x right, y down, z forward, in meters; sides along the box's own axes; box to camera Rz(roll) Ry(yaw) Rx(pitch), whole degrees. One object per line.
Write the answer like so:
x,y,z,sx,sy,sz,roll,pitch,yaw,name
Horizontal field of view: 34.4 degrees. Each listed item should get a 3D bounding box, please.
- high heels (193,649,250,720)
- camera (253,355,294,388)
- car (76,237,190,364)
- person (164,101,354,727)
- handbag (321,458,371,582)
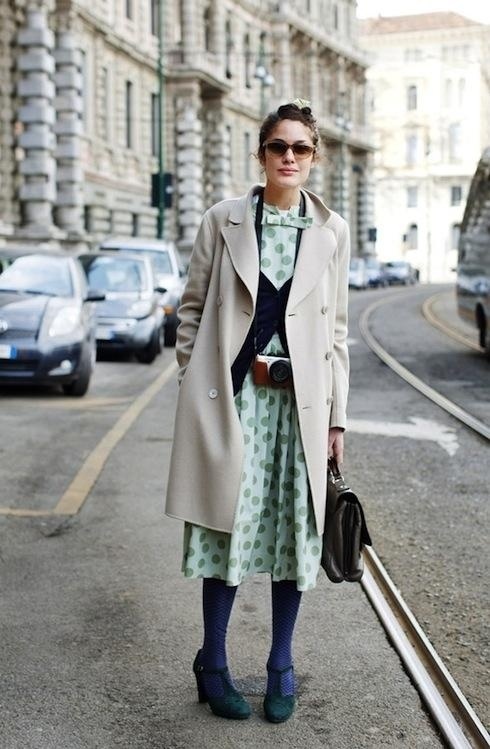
-0.075,0.881,2.264,0.083,0.155,0.249,6,-3,-35,high heels
0.071,-0.011,2.128,0.107,0.081,0.076,2,6,-14,camera
-2.193,-1.560,15.210,1.966,1.975,3.549,0,1,4,car
0.037,0.084,2.262,0.514,1.736,0.394,0,5,5,person
0.266,0.389,2.292,0.121,0.323,0.319,-2,8,-4,handbag
